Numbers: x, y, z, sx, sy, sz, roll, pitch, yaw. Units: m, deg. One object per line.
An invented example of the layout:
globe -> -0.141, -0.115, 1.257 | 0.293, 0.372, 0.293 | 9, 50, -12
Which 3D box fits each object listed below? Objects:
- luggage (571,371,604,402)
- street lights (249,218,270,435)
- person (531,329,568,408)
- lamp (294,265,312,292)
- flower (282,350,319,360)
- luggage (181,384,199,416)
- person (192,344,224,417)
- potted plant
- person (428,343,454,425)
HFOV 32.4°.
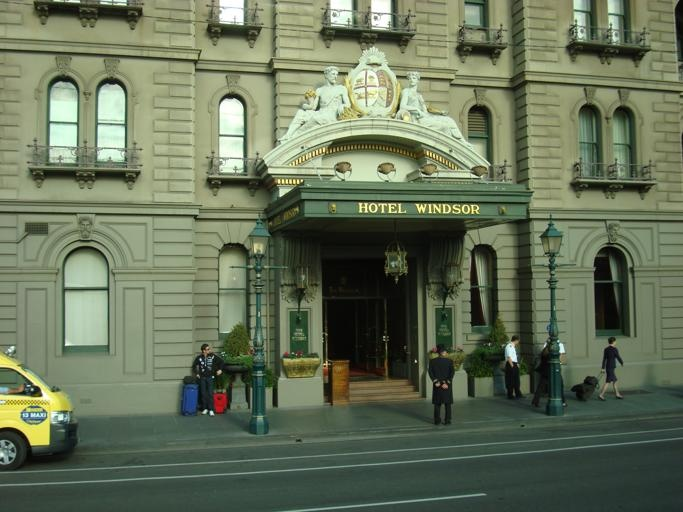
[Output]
luggage -> 8.843, 4.827, 42.397 | 0.869, 0.844, 0.659 | -2, 10, -11
street lights -> -2.588, 2.310, 37.923 | 0.890, 6.776, 0.753 | 1, -2, -23
person -> 7.308, 4.133, 41.769 | 0.904, 2.837, 1.091 | 3, 1, -11
lamp -> -1.394, 0.828, 42.041 | 0.512, 0.872, 0.507 | -1, 10, -4
flower -> -1.454, 3.538, 41.833 | 1.298, 0.186, 0.425 | -2, 10, -10
luggage -> -5.209, 4.910, 40.242 | 0.589, 1.032, 0.518 | -2, 10, -8
person -> -4.609, 4.264, 40.468 | 0.914, 2.510, 0.889 | 1, -2, -19
potted plant -> -3.511, 3.898, 41.658 | 1.581, 3.148, 1.379 | 0, -2, -5
person -> 3.346, 4.265, 39.101 | 0.869, 2.540, 0.720 | 3, -3, 2
